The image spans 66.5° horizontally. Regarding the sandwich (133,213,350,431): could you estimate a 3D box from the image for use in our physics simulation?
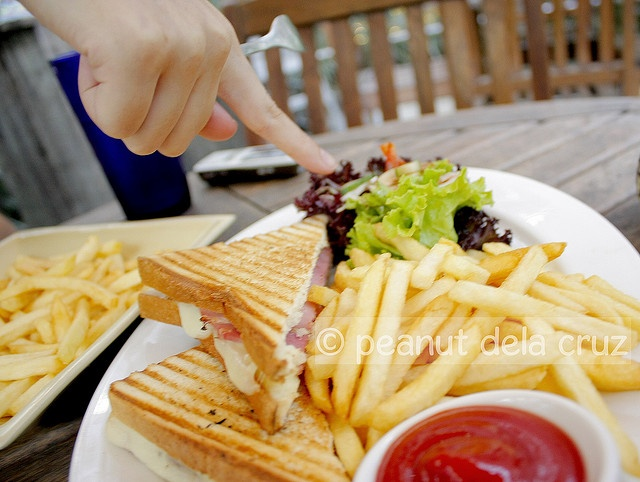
[{"bbox_3d":[-0.355,0.275,1.766,0.522,0.227,0.841,28,34,-4],"label":"sandwich"}]
